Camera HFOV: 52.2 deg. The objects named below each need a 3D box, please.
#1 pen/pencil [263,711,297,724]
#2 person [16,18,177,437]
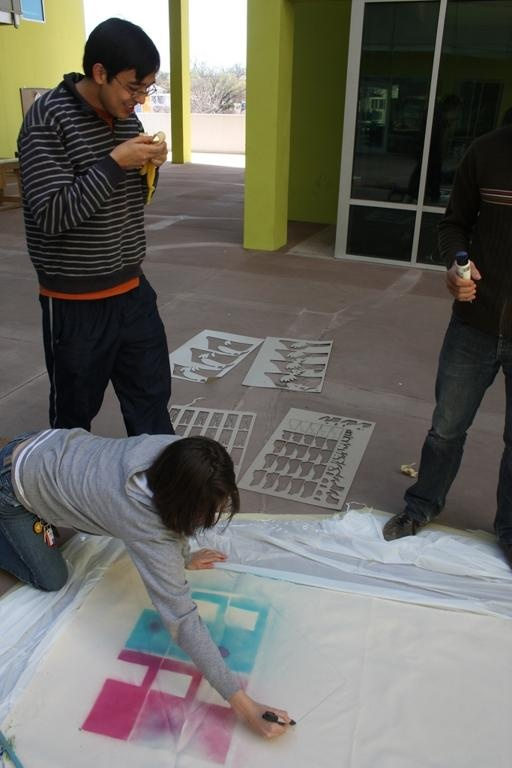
[{"bbox_3d":[0.048,0.732,1.149,0.103,0.028,0.028,30,42,-40],"label":"pen/pencil"},{"bbox_3d":[-0.491,-0.365,1.676,0.460,1.349,0.397,-11,28,-23],"label":"person"}]
